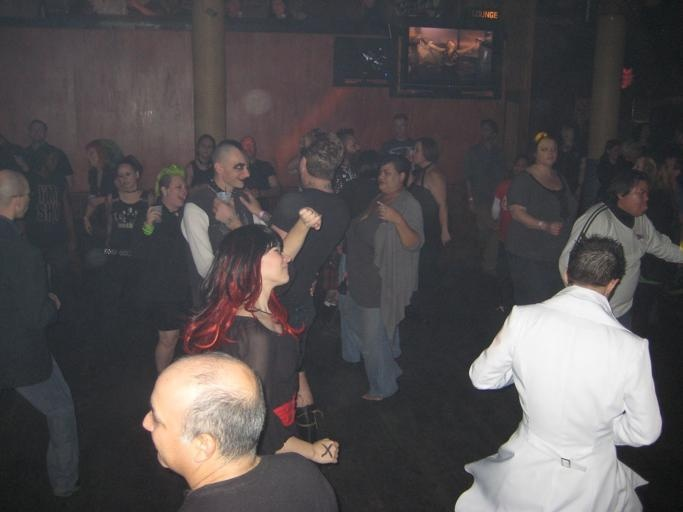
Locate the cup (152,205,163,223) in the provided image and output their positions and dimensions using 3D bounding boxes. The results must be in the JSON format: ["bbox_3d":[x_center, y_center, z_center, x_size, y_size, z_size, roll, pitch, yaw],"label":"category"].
[{"bbox_3d":[-1.630,-0.369,5.566,0.091,0.148,0.043,-2,12,-23],"label":"cup"}]

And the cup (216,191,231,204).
[{"bbox_3d":[-0.961,-0.483,5.164,0.097,0.074,0.095,0,1,0],"label":"cup"}]
